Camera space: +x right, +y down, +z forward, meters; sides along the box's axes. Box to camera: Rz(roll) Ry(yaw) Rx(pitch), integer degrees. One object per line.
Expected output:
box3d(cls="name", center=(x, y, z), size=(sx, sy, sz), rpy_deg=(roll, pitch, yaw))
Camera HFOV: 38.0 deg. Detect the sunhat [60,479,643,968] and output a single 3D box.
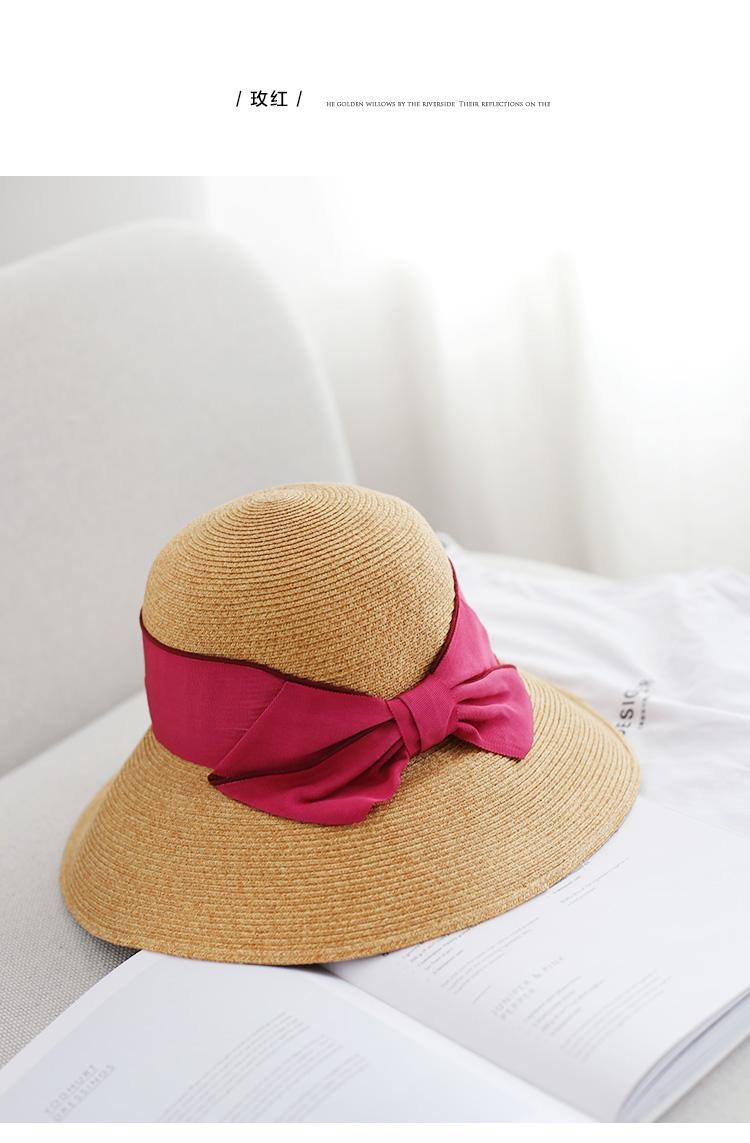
box3d(cls="sunhat", center=(-0.048, 0.075, 0.954), size=(0.510, 0.254, 0.510), rpy_deg=(-9, 20, -10))
